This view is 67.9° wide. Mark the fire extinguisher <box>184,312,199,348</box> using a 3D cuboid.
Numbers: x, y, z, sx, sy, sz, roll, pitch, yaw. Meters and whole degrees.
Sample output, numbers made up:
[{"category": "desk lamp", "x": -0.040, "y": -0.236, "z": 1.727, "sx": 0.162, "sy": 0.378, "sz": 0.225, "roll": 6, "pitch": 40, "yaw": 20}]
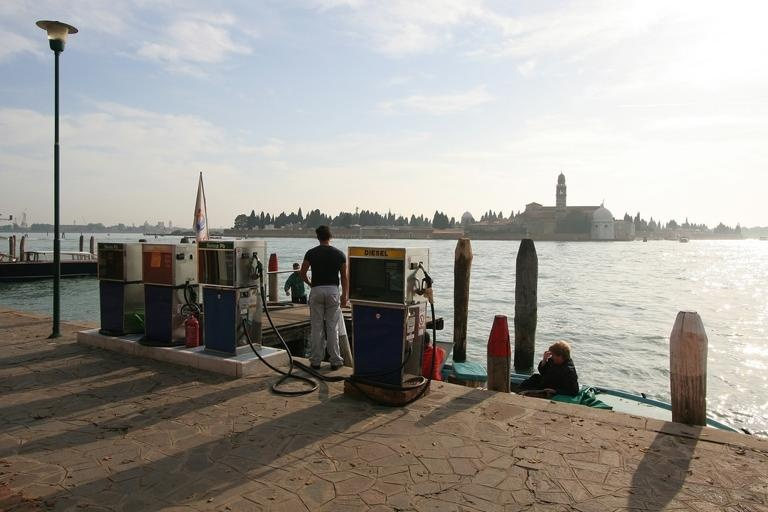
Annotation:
[{"category": "fire extinguisher", "x": -3.681, "y": 1.437, "z": 11.113, "sx": 0.209, "sy": 0.656, "sz": 0.362, "roll": 2, "pitch": 2, "yaw": 20}]

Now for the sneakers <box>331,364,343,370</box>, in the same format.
[{"category": "sneakers", "x": -0.885, "y": 2.059, "z": 10.530, "sx": 0.132, "sy": 0.044, "sz": 0.099, "roll": 3, "pitch": 2, "yaw": 30}]

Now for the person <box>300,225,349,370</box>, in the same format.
[{"category": "person", "x": -1.155, "y": 0.767, "z": 10.634, "sx": 0.941, "sy": 2.573, "sz": 0.678, "roll": 2, "pitch": -4, "yaw": -15}]
